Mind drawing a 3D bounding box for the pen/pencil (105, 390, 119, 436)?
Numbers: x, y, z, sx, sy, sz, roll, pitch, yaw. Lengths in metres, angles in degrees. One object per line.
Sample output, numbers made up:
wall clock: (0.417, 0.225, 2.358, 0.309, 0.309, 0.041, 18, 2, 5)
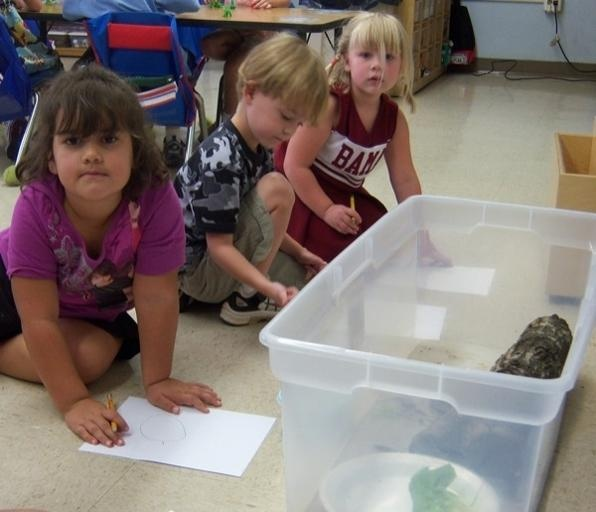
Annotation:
pen/pencil: (-0.363, 0.311, 1.033, 0.011, 0.062, 0.017, -20, -20, 20)

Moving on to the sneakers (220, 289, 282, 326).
sneakers: (-0.155, 0.138, 1.437, 0.149, 0.063, 0.116, -1, 70, 37)
